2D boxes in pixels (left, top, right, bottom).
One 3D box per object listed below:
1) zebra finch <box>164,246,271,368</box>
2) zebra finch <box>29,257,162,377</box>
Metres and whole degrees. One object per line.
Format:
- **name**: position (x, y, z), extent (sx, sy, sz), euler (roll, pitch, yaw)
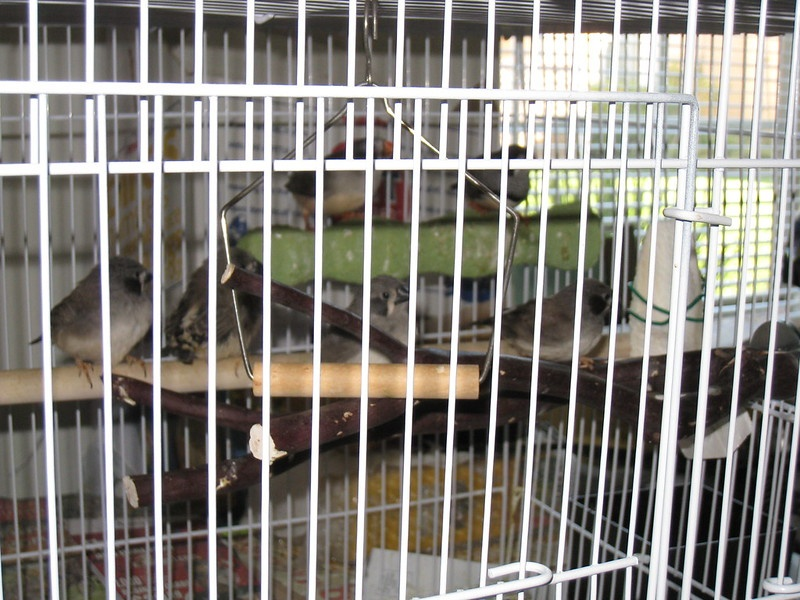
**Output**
- **zebra finch**: position (-0.365, 0.032, 2.908), extent (0.230, 0.167, 0.253), euler (-8, -65, -24)
- **zebra finch**: position (-0.587, 0.014, 2.906), extent (0.233, 0.243, 0.154), euler (7, 14, 15)
